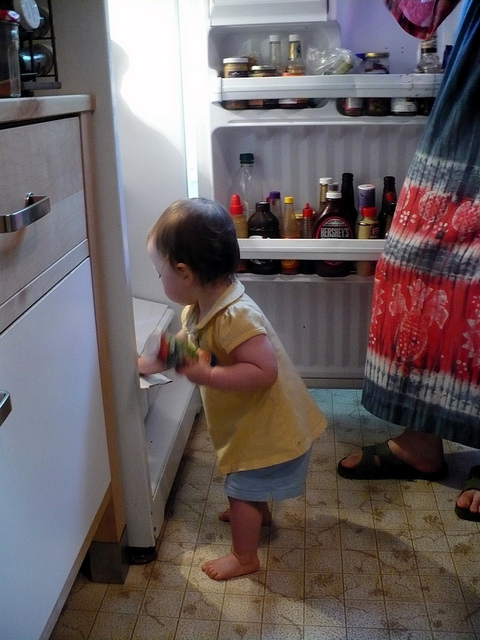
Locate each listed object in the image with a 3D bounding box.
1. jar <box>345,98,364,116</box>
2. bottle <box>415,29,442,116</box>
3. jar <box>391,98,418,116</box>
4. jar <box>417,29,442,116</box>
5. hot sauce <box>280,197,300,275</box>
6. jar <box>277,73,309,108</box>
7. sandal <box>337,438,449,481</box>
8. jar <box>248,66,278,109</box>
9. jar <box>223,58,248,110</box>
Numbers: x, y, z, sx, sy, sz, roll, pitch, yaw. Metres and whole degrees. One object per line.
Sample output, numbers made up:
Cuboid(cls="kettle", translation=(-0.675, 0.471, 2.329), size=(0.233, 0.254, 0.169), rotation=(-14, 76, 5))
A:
Cuboid(cls="jar", translation=(0.295, -0.547, 1.219), size=(0.040, 0.040, 0.072), rotation=(1, -10, 4))
Cuboid(cls="bottle", translation=(0.467, -0.621, 1.251), size=(0.075, 0.230, 0.100), rotation=(5, 23, 16))
Cuboid(cls="jar", translation=(0.419, -0.537, 1.196), size=(0.047, 0.047, 0.049), rotation=(-4, 44, 4))
Cuboid(cls="jar", translation=(0.516, -0.661, 1.277), size=(0.063, 0.255, 0.065), rotation=(-10, 45, 10))
Cuboid(cls="hot sauce", translation=(0.149, -0.256, 1.445), size=(0.067, 0.230, 0.066), rotation=(-6, 12, -21))
Cuboid(cls="jar", translation=(0.131, -0.612, 1.269), size=(0.096, 0.063, 0.102), rotation=(0, 32, 0))
Cuboid(cls="sandal", translation=(0.392, 0.363, 1.250), size=(0.257, 0.093, 0.091), rotation=(1, 15, 10))
Cuboid(cls="jar", translation=(0.059, -0.625, 1.283), size=(0.101, 0.120, 0.103), rotation=(-1, 28, 0))
Cuboid(cls="jar", translation=(-0.010, -0.636, 1.280), size=(0.069, 0.123, 0.073), rotation=(1, 9, 0))
